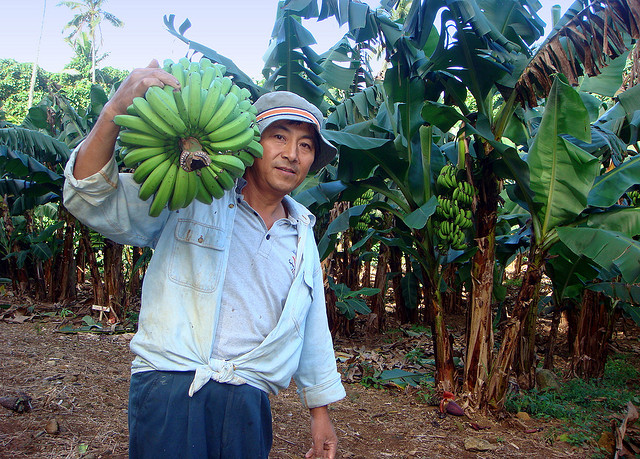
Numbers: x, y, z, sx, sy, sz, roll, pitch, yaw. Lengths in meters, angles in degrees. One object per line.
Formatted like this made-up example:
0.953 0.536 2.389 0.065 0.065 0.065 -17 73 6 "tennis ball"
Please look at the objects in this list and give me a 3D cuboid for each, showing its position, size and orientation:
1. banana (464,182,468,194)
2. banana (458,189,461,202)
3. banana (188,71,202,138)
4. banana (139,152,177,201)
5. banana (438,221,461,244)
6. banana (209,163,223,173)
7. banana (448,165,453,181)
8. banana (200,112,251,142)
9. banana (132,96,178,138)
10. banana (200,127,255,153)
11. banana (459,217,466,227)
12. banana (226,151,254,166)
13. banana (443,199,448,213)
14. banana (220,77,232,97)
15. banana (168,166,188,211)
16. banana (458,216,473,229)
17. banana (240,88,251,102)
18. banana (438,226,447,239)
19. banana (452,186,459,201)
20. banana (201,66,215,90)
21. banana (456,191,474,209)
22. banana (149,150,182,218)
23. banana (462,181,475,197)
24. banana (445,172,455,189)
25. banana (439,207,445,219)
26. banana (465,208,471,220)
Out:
1.592 -0.449 4.979 0.041 0.122 0.024 6 5 17 "banana"
1.517 -0.366 4.949 0.025 0.124 0.028 8 6 34 "banana"
-0.708 -0.722 2.642 0.063 0.362 0.087 2 -4 -1 "banana"
-0.946 -0.308 2.643 0.048 0.284 0.074 32 -9 37 "banana"
1.434 0.013 5.056 0.216 0.201 0.125 37 28 12 "banana"
-0.614 -0.352 2.653 0.096 0.033 0.029 32 -2 -8 "banana"
1.435 -0.629 5.021 0.029 0.138 0.046 -8 -28 37 "banana"
-0.552 -0.595 2.730 0.386 0.141 0.080 -17 -32 37 "banana"
-0.941 -0.645 2.585 0.229 0.066 0.080 46 -36 -12 "banana"
-0.561 -0.523 2.662 0.208 0.087 0.061 -19 -34 -13 "banana"
1.553 -0.079 4.983 0.066 0.108 0.033 3 5 -16 "banana"
-0.478 -0.421 2.757 0.052 0.090 0.201 -4 -5 22 "banana"
1.368 -0.257 4.982 0.052 0.141 0.018 5 5 4 "banana"
-0.587 -0.866 2.805 0.038 0.118 0.078 9 2 40 "banana"
-0.826 -0.219 2.699 0.071 0.300 0.099 13 -5 -25 "banana"
1.594 -0.069 4.993 0.126 0.134 0.042 21 3 -28 "banana"
-0.477 -0.861 2.937 0.066 0.079 0.072 20 17 -22 "banana"
1.358 0.035 5.069 0.057 0.040 0.155 7 32 -21 "banana"
1.469 -0.388 4.949 0.038 0.155 0.052 19 -1 16 "banana"
-0.688 -0.922 2.779 0.064 0.142 0.073 13 -2 -4 "banana"
1.590 -0.308 5.023 0.104 0.168 0.193 27 30 -3 "banana"
-0.907 -0.283 2.656 0.066 0.365 0.091 22 2 30 "banana"
1.629 -0.444 4.989 0.151 0.149 0.054 -15 8 -21 "banana"
1.413 -0.532 4.977 0.068 0.169 0.044 -9 -6 -21 "banana"
1.341 -0.180 5.023 0.047 0.148 0.027 -23 24 -21 "banana"
1.644 -0.168 5.055 0.060 0.108 0.192 6 4 19 "banana"
